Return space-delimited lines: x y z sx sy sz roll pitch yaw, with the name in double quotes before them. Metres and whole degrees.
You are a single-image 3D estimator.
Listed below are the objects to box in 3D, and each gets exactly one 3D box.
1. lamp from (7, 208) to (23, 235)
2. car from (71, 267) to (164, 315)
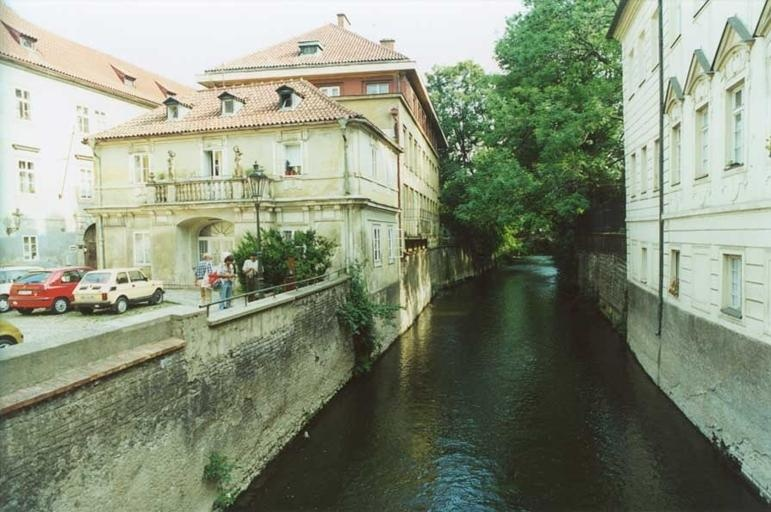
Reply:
"lamp" -7.914 -0.732 16.523 0.239 0.566 1.069 -4 6 -15
"car" -9.816 1.265 28.723 1.421 1.268 2.739 0 7 22
